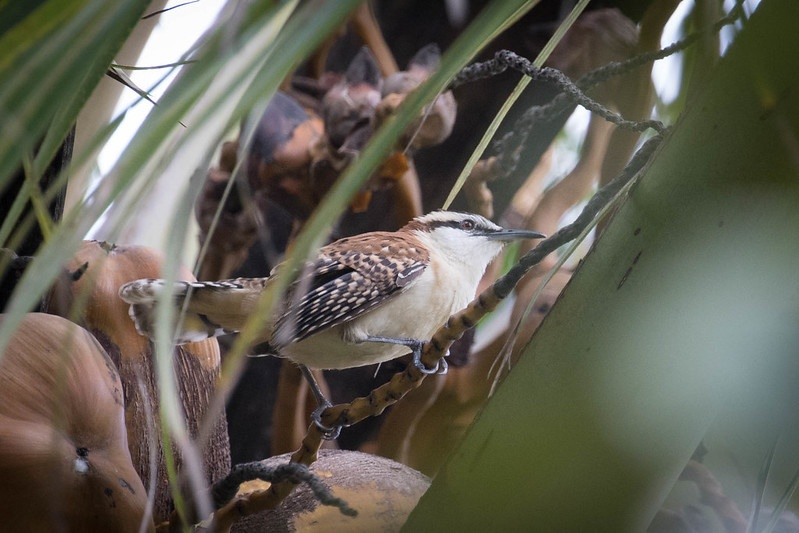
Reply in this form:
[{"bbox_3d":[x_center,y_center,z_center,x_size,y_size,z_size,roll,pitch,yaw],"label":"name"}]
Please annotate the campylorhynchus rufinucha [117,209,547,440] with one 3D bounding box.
[{"bbox_3d":[-0.105,0.030,1.517,0.488,0.260,0.175,4,-25,-12],"label":"campylorhynchus rufinucha"}]
